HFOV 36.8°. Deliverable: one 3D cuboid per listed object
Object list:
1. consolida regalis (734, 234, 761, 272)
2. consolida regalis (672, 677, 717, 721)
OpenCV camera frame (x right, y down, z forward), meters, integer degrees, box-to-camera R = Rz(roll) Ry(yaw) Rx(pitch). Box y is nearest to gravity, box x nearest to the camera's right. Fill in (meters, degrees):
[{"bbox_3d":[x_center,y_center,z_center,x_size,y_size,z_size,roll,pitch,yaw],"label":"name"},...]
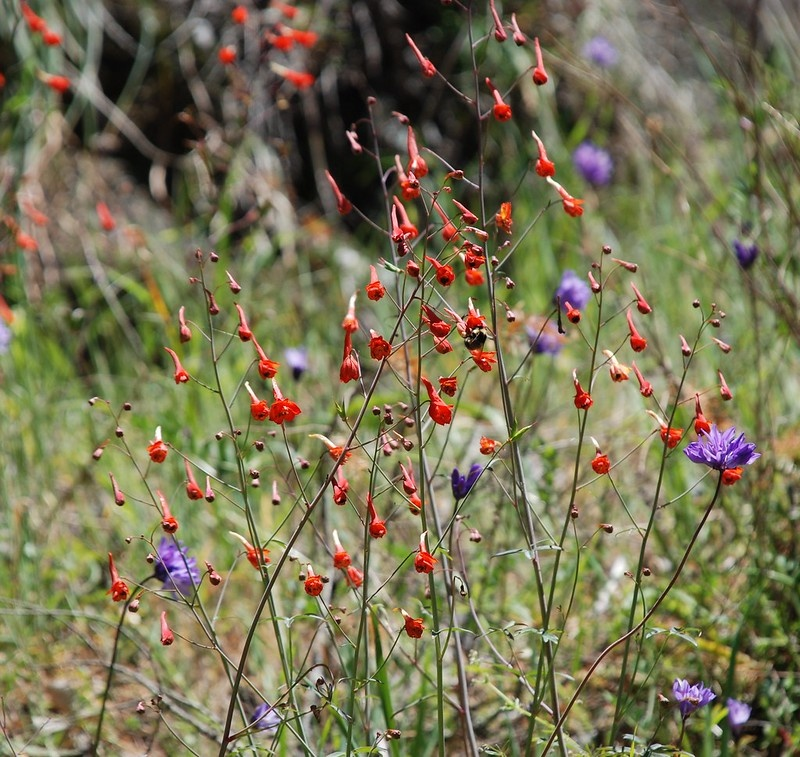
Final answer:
[{"bbox_3d":[1.103,-0.405,3.830,0.070,0.102,0.072,-22,29,-10],"label":"consolida regalis"},{"bbox_3d":[0.710,0.775,2.921,0.086,0.089,0.081,-10,28,8],"label":"consolida regalis"}]
